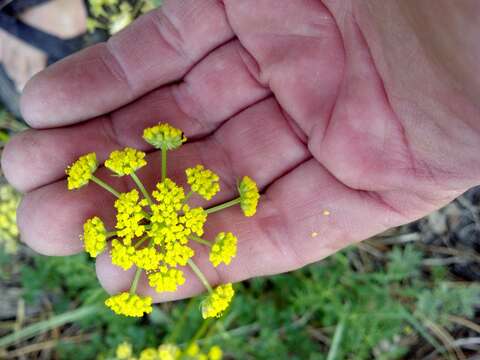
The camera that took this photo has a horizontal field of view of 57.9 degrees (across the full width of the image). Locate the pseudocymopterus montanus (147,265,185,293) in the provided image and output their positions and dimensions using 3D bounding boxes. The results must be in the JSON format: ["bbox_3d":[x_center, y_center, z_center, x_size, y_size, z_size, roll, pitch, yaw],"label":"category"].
[{"bbox_3d":[-0.492,0.647,2.865,0.181,0.087,0.222,-4,81,-6],"label":"pseudocymopterus montanus"}]

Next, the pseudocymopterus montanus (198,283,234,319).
[{"bbox_3d":[-0.130,0.879,3.004,0.258,0.093,0.209,-47,40,6],"label":"pseudocymopterus montanus"}]

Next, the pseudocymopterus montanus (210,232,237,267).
[{"bbox_3d":[-0.105,0.441,2.971,0.144,0.213,0.200,34,102,-16],"label":"pseudocymopterus montanus"}]

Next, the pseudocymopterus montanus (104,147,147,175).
[{"bbox_3d":[-0.757,-0.133,2.858,0.201,0.112,0.209,35,70,17],"label":"pseudocymopterus montanus"}]

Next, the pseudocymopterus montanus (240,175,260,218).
[{"bbox_3d":[0.059,0.113,2.963,0.105,0.177,0.250,-7,90,-21],"label":"pseudocymopterus montanus"}]

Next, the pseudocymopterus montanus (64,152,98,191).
[{"bbox_3d":[-1.050,-0.057,2.906,0.214,0.103,0.176,-23,83,-2],"label":"pseudocymopterus montanus"}]

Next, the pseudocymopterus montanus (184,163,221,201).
[{"bbox_3d":[-0.254,0.030,2.960,0.218,0.145,0.243,17,65,-23],"label":"pseudocymopterus montanus"}]

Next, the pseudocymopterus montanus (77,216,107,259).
[{"bbox_3d":[-0.950,0.373,2.841,0.175,0.086,0.262,0,87,0],"label":"pseudocymopterus montanus"}]
